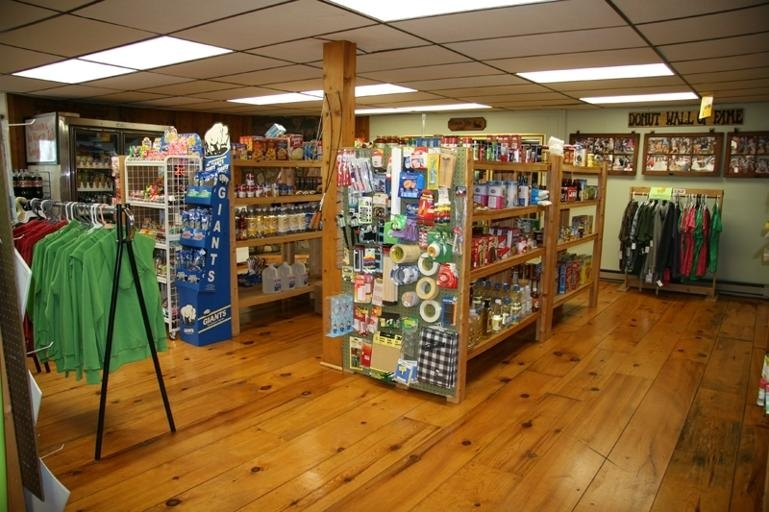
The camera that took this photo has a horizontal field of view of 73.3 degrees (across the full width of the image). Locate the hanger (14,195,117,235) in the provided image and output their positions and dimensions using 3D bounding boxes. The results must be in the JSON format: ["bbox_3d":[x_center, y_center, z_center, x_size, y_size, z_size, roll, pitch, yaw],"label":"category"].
[{"bbox_3d":[-2.740,-0.375,4.395,1.545,0.239,0.409,7,15,39],"label":"hanger"}]

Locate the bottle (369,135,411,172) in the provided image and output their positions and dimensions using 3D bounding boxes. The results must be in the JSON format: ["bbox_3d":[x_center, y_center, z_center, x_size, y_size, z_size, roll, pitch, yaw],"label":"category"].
[{"bbox_3d":[0.100,-1.003,5.077,0.378,0.363,0.372,6,9,39],"label":"bottle"}]

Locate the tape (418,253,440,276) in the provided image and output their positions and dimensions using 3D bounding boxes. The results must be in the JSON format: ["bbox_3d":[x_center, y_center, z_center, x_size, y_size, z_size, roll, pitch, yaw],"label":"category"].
[{"bbox_3d":[0.411,0.072,4.855,0.176,0.219,0.082,7,4,40],"label":"tape"}]

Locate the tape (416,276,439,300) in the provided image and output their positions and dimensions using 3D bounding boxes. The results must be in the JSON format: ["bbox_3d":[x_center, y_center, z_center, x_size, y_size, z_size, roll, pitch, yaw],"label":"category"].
[{"bbox_3d":[0.398,0.303,4.862,0.205,0.204,0.134,-34,-19,35],"label":"tape"}]

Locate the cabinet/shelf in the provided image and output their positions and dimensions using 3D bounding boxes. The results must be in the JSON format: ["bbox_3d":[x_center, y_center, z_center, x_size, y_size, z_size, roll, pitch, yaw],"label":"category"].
[{"bbox_3d":[-0.751,0.094,5.573,3.354,1.958,3.253,7,11,41],"label":"cabinet/shelf"}]

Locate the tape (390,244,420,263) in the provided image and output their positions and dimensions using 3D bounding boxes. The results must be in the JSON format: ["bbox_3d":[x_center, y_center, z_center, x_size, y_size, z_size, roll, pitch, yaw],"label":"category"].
[{"bbox_3d":[0.193,-0.025,4.926,0.221,0.182,0.208,-7,-8,-39],"label":"tape"}]
